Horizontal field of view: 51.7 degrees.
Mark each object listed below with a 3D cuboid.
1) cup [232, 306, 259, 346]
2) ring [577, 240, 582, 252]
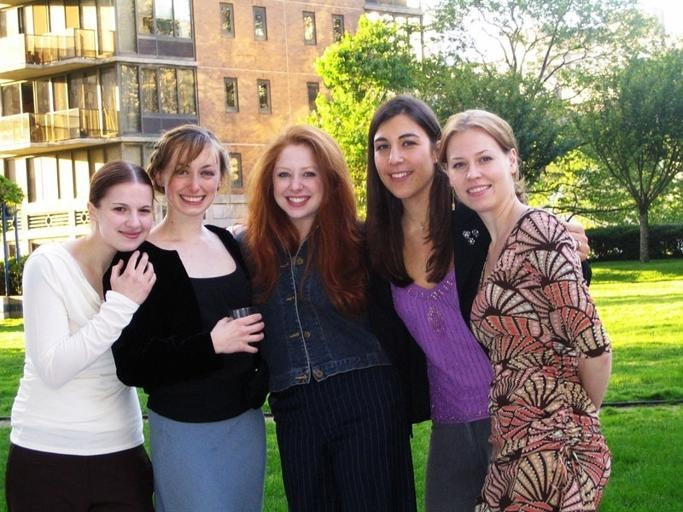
[{"bbox_3d":[-0.665,0.483,4.848,0.228,0.175,0.233,-8,2,0],"label":"cup"},{"bbox_3d":[1.536,-0.063,4.592,0.025,0.084,0.087,0,-7,6],"label":"ring"}]
